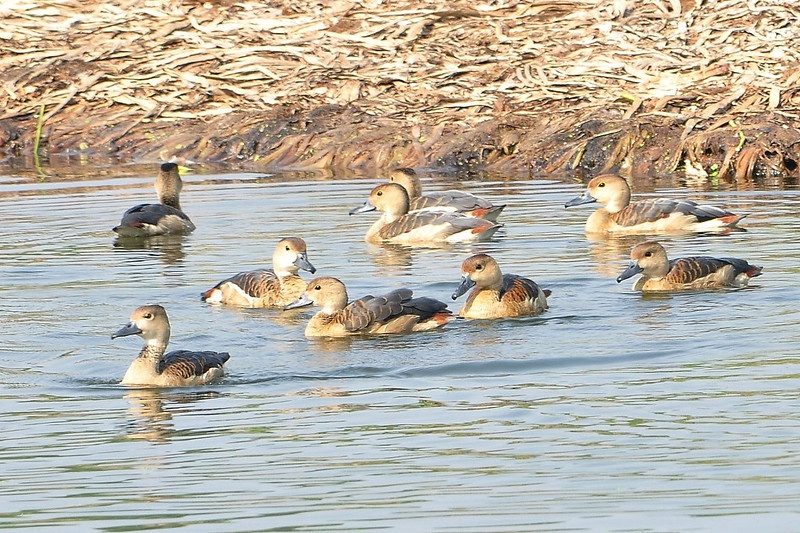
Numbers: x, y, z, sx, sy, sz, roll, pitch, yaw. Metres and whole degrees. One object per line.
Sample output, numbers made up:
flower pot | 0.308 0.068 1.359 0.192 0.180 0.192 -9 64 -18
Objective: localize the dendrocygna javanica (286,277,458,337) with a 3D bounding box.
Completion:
dendrocygna javanica | -0.360 0.546 13.039 2.145 0.393 0.594 -1 11 -6
